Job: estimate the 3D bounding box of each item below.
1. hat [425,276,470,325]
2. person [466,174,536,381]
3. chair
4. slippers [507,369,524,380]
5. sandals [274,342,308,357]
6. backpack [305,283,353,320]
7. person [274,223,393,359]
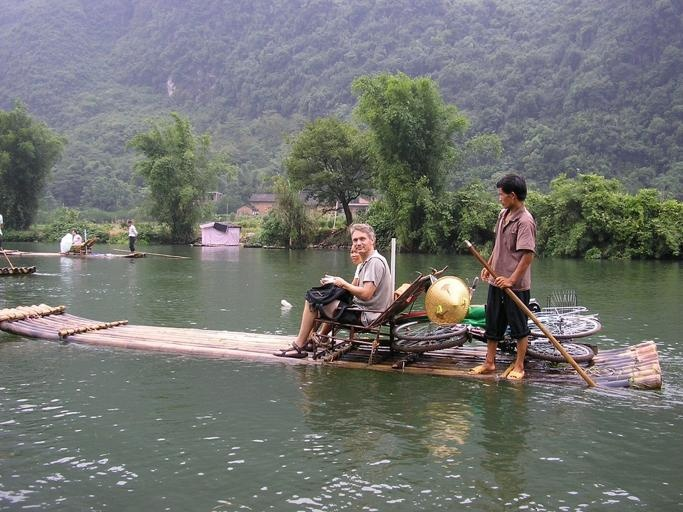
[{"bbox_3d":[1.605,0.700,10.348,0.661,0.726,0.358,1,7,6],"label":"hat"},{"bbox_3d":[2.494,0.334,10.088,0.694,3.036,0.635,3,8,25],"label":"person"},{"bbox_3d":[0.893,0.780,10.896,1.135,0.707,1.092,-31,14,-34],"label":"chair"},{"bbox_3d":[2.611,1.799,10.205,0.281,0.221,0.107,1,-4,13],"label":"slippers"},{"bbox_3d":[-0.817,1.550,11.208,0.440,0.181,0.247,2,-3,14],"label":"sandals"},{"bbox_3d":[-0.235,0.704,10.883,0.604,0.269,0.611,4,1,4],"label":"backpack"},{"bbox_3d":[0.018,0.595,10.870,1.556,2.181,0.484,0,7,2],"label":"person"}]
